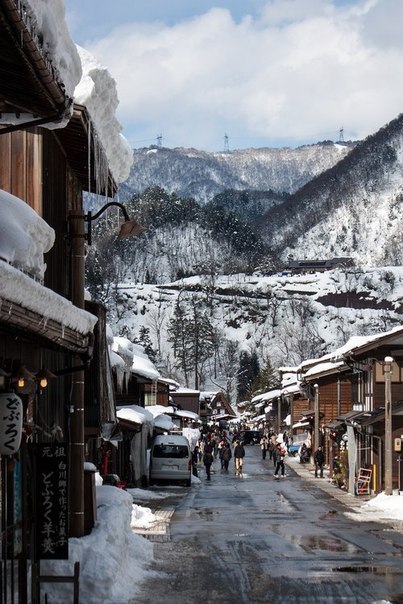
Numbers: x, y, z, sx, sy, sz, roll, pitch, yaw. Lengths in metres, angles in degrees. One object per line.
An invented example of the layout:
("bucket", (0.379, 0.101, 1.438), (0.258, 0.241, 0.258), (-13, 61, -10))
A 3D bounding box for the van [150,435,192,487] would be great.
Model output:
("van", (-1.052, 5.411, 29.792), (0.863, 1.246, 1.968), (0, 2, 0))

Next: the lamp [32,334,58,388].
("lamp", (-1.562, 0.604, 8.708), (0.379, 0.541, 0.452), (0, -3, -13))

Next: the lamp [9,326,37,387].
("lamp", (-1.656, 0.561, 8.043), (0.190, 0.409, 0.190), (7, -13, -41))

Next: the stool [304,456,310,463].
("stool", (5.656, 8.482, 46.903), (0.238, 0.348, 0.396), (3, -6, -2))
